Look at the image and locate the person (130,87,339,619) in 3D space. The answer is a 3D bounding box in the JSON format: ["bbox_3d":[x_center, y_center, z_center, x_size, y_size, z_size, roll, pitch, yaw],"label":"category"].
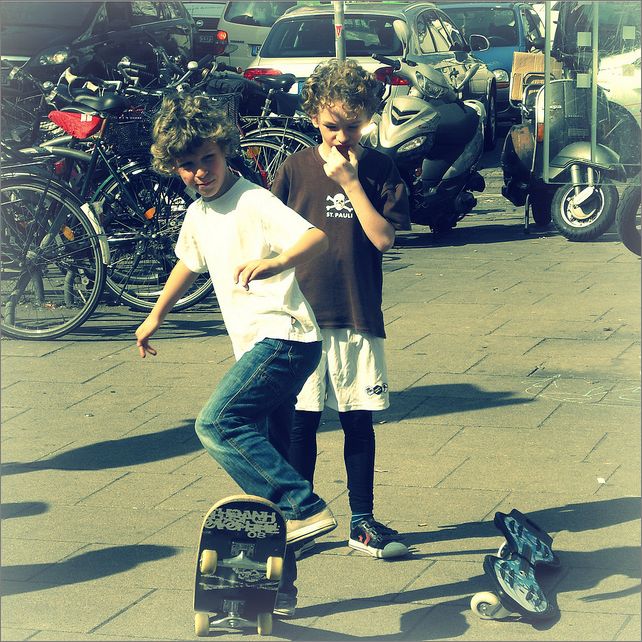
[{"bbox_3d":[-0.264,0.107,2.837,0.547,1.662,0.751,-6,13,-21],"label":"person"}]

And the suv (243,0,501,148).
[{"bbox_3d":[1.077,-3.156,12.299,2.820,1.779,4.290,7,16,32],"label":"suv"}]

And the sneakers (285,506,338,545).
[{"bbox_3d":[-0.036,0.637,2.754,0.210,0.076,0.071,-16,-10,-11],"label":"sneakers"}]

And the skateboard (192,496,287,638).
[{"bbox_3d":[-0.237,0.716,2.538,0.268,0.498,0.212,0,12,1],"label":"skateboard"}]

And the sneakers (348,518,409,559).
[{"bbox_3d":[0.203,0.806,3.297,0.124,0.108,0.319,-3,-1,-28],"label":"sneakers"}]

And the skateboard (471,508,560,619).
[{"bbox_3d":[0.676,0.800,2.918,0.198,0.104,0.419,30,15,7],"label":"skateboard"}]
